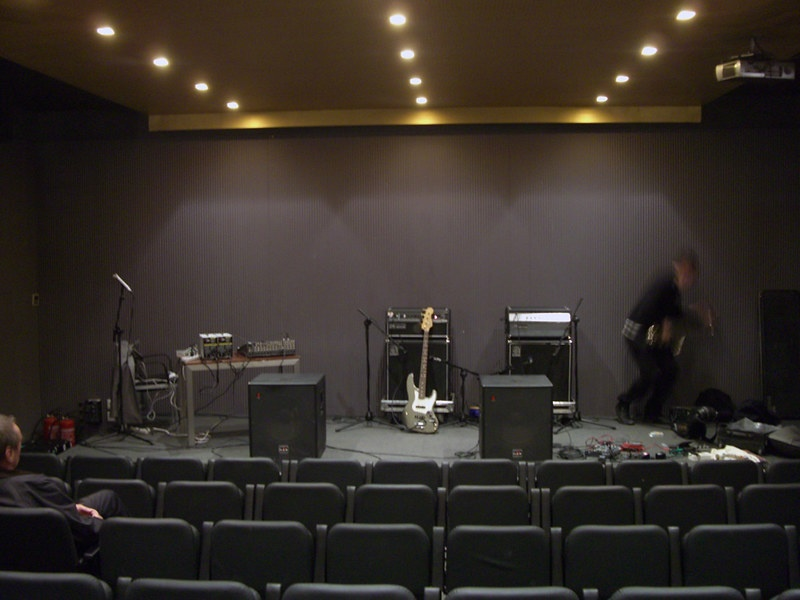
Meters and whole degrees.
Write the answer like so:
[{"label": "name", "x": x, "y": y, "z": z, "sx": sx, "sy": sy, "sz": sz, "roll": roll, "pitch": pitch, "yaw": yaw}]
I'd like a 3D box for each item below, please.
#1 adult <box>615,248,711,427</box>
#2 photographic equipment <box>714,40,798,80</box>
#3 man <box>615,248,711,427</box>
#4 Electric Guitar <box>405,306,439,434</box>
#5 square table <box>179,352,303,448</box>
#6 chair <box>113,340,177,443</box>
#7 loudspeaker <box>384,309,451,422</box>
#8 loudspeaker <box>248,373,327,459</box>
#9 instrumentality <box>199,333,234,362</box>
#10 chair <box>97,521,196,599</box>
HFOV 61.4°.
[{"label": "adult", "x": 3.196, "y": 0.456, "z": 8.221, "sx": 1.014, "sy": 2.105, "sz": 0.684, "roll": 0, "pitch": -1, "yaw": 16}, {"label": "photographic equipment", "x": 3.396, "y": -2.206, "z": 6.389, "sx": 0.679, "sy": 0.262, "sz": 0.195, "roll": 0, "pitch": -1, "yaw": 8}, {"label": "man", "x": 3.228, "y": 0.456, "z": 8.213, "sx": 1.079, "sy": 2.105, "sz": 0.687, "roll": 0, "pitch": -1, "yaw": 16}, {"label": "Electric Guitar", "x": 0.244, "y": 0.824, "z": 8.023, "sx": 0.402, "sy": 1.457, "sz": 0.448, "roll": 0, "pitch": -1, "yaw": 2}, {"label": "square table", "x": -1.964, "y": 1.336, "z": 7.754, "sx": 1.191, "sy": 1.082, "sz": 0.980, "roll": -1, "pitch": -2, "yaw": -6}, {"label": "chair", "x": -3.102, "y": 1.023, "z": 8.206, "sx": 0.741, "sy": 1.090, "sz": 1.173, "roll": 0, "pitch": -1, "yaw": -9}, {"label": "loudspeaker", "x": 0.276, "y": 0.840, "z": 7.740, "sx": 0.448, "sy": 1.618, "sz": 0.159, "roll": 5, "pitch": 22, "yaw": 5}, {"label": "loudspeaker", "x": -1.139, "y": 1.163, "z": 6.977, "sx": 0.669, "sy": 0.843, "sz": 0.755, "roll": 0, "pitch": -2, "yaw": 1}, {"label": "instrumentality", "x": -2.080, "y": 0.528, "z": 7.577, "sx": 0.357, "sy": 0.278, "sz": 0.164, "roll": 0, "pitch": -1, "yaw": -25}, {"label": "chair", "x": -1.534, "y": 1.488, "z": 4.146, "sx": 0.395, "sy": 0.608, "sz": 0.456, "roll": 1, "pitch": 3, "yaw": 1}]
